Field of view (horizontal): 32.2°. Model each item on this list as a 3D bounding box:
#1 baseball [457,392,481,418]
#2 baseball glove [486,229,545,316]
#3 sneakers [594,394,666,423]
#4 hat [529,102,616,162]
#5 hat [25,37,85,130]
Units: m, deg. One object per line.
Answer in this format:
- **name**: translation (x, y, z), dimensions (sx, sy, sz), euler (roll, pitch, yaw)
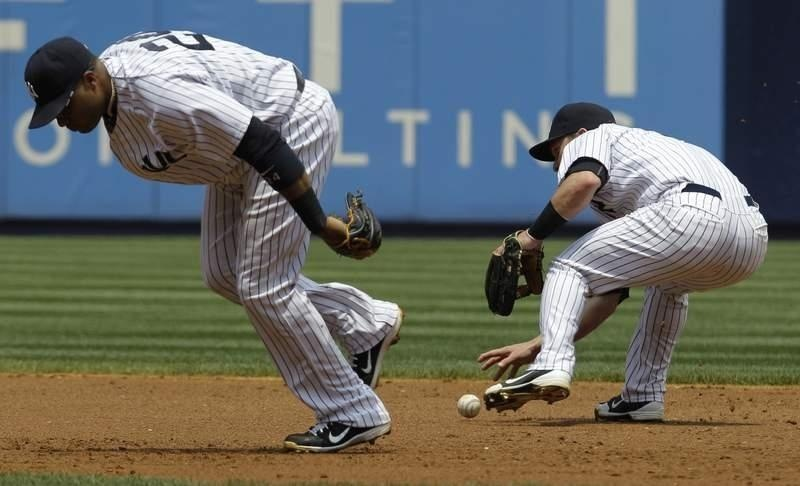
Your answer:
- **baseball**: translation (0.579, 1.361, 11.591), dimensions (0.204, 0.189, 0.199), euler (22, -24, -32)
- **baseball glove**: translation (0.919, 0.271, 11.467), dimensions (0.268, 0.695, 0.502), euler (29, -37, -2)
- **sneakers**: translation (1.949, 1.442, 11.974), dimensions (0.660, 0.270, 0.212), euler (3, -5, 9)
- **hat**: translation (1.441, -1.005, 11.943), dimensions (0.893, 0.412, 0.592), euler (-10, -12, 0)
- **hat**: translation (-2.630, -1.237, 10.697), dimensions (0.507, 0.702, 0.245), euler (1, 8, -14)
